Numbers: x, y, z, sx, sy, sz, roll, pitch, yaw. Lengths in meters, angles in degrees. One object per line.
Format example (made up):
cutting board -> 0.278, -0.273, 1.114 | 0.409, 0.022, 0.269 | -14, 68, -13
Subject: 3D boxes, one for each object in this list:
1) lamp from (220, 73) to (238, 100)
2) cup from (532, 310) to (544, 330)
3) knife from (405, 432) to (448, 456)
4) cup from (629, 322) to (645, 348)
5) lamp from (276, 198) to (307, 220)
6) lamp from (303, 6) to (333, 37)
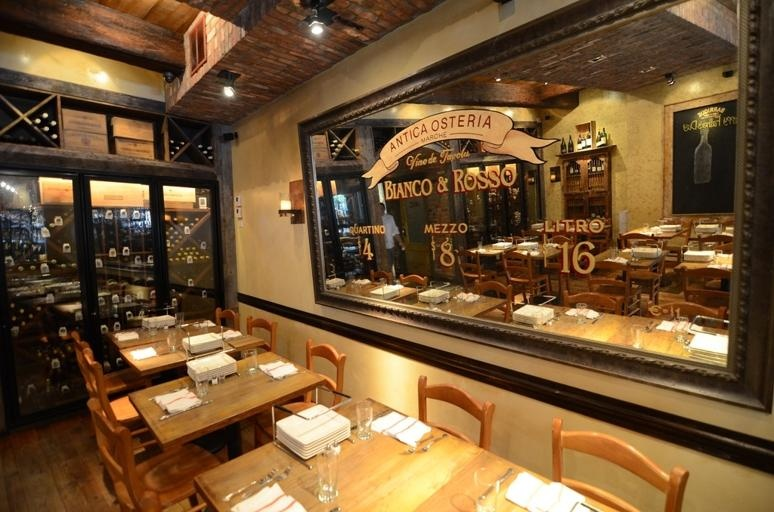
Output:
lamp -> -1.629, -1.743, 5.299 | 0.166, 0.213, 0.163 | 5, -23, -32
cup -> 1.177, 0.500, 4.060 | 0.115, 0.155, 0.107 | -2, 4, 0
knife -> 0.295, 1.348, 3.739 | 0.111, 0.025, 0.334 | 8, 13, 39
cup -> 1.790, 0.574, 3.680 | 0.111, 0.158, 0.055 | -4, 6, 27
lamp -> -1.042, -0.484, 5.673 | 0.286, 0.262, 0.288 | 0, 2, -30
lamp -> -0.533, -1.885, 4.232 | 0.243, 0.207, 0.233 | -15, 20, -33
